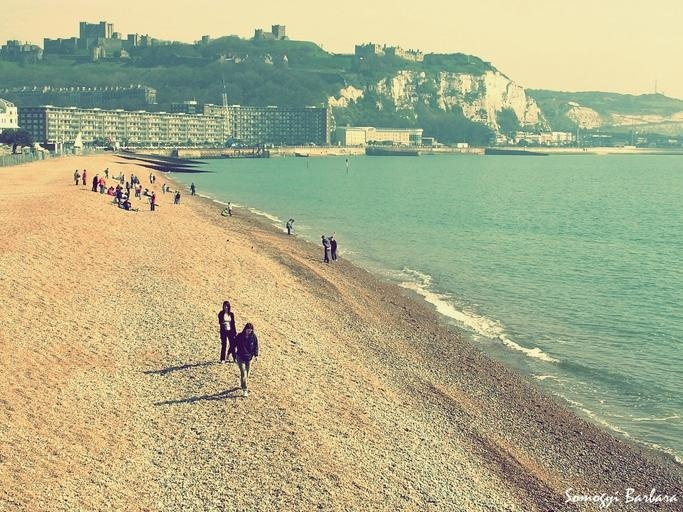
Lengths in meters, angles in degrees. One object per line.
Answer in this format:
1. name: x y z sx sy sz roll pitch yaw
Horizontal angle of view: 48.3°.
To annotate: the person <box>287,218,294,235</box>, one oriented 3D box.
1. person: -4.722 -2.623 69.589 0.682 0.762 1.807 -10 -2 -6
